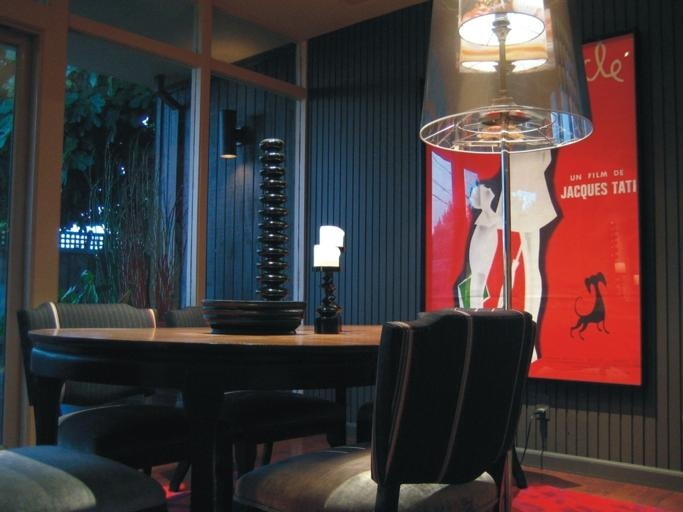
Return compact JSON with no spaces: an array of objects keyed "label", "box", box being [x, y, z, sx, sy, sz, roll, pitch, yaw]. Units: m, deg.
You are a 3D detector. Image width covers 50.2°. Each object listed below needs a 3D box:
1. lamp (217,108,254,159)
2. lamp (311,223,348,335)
[{"label":"lamp","box":[-0.756,-0.891,5.279,0.267,0.350,0.170,1,1,-20]},{"label":"lamp","box":[-0.047,0.108,3.102,0.126,0.445,0.115,4,2,9]}]
